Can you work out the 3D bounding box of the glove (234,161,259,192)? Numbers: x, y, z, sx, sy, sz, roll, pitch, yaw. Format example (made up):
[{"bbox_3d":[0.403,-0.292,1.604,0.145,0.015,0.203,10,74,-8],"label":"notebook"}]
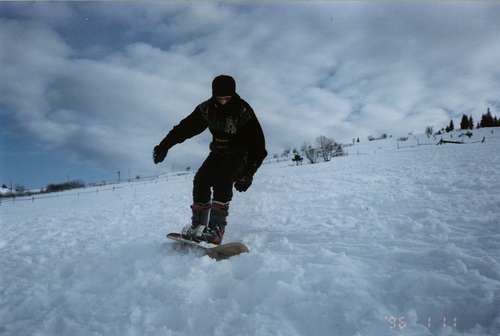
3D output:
[{"bbox_3d":[-0.056,0.149,5.629,0.440,0.487,0.278,-5,1,2],"label":"glove"}]

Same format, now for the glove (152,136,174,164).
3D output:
[{"bbox_3d":[-1.677,-0.337,5.898,0.391,0.495,0.311,-4,2,41],"label":"glove"}]
